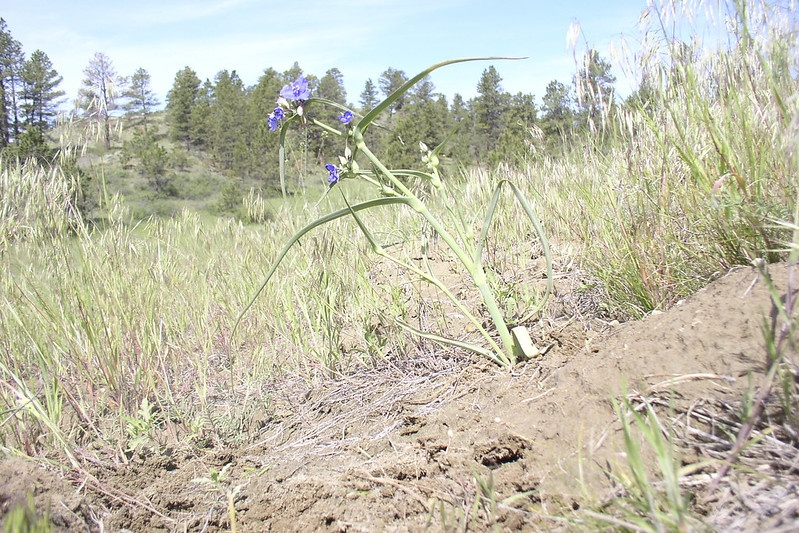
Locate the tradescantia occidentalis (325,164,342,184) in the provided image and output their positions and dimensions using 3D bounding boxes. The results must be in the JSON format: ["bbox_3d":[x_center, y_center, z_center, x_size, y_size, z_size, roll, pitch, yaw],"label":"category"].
[{"bbox_3d":[-0.322,-0.456,2.856,0.035,0.072,0.090,-9,-34,19],"label":"tradescantia occidentalis"}]

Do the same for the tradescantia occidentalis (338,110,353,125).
[{"bbox_3d":[-0.260,-0.720,2.826,0.059,0.071,0.041,-8,-31,33],"label":"tradescantia occidentalis"}]

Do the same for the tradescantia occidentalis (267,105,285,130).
[{"bbox_3d":[-0.606,-0.738,2.904,0.090,0.109,0.037,1,-9,31],"label":"tradescantia occidentalis"}]
